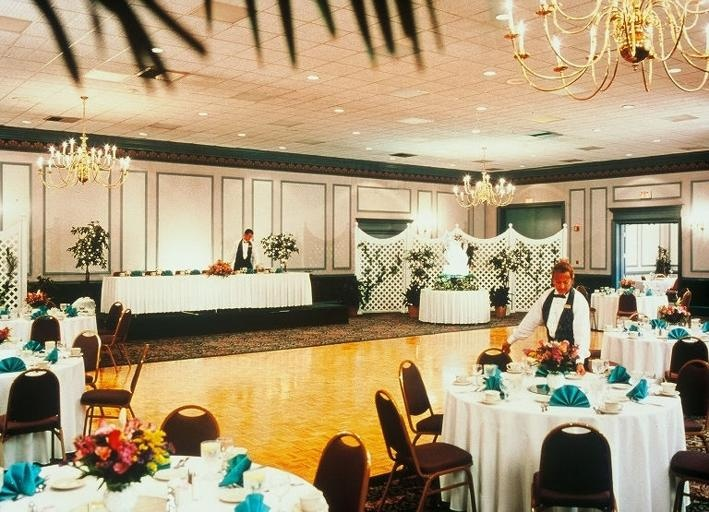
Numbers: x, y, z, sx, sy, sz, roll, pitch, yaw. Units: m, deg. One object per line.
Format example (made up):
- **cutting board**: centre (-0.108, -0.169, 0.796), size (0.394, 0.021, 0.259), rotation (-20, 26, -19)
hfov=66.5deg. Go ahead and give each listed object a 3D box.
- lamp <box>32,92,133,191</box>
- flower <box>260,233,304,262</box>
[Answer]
- **lamp**: centre (-5.176, -2.133, 10.373), size (1.677, 1.567, 1.660), rotation (0, 2, -42)
- **flower**: centre (-1.942, -0.221, 14.081), size (0.958, 0.785, 1.266), rotation (1, 0, -6)
